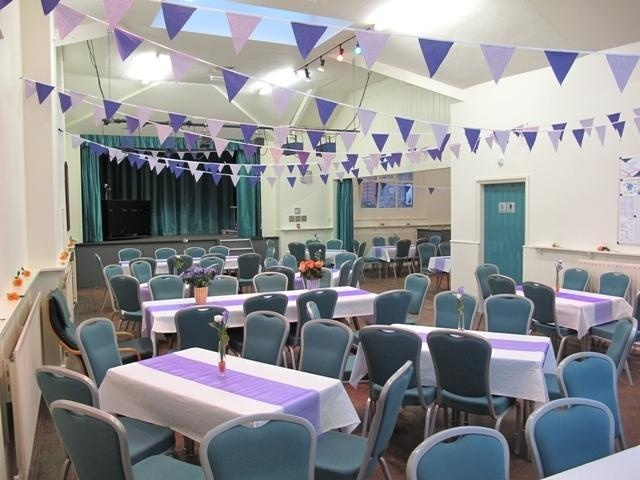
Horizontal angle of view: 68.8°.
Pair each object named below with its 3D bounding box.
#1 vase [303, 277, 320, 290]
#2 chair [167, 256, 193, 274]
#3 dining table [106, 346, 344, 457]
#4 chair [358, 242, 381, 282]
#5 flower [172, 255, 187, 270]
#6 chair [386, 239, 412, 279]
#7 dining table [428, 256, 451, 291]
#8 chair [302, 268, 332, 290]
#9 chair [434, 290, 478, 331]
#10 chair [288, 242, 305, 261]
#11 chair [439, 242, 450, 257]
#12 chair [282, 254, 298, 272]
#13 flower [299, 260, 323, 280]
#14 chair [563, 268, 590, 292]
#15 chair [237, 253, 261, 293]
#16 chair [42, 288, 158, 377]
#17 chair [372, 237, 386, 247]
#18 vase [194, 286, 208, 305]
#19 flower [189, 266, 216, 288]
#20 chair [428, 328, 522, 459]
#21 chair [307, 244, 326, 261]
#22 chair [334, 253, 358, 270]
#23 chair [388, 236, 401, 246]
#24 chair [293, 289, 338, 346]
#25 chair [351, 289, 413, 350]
[{"bbox_3d":[-0.127,0.539,5.865,0.158,0.136,0.158,-1,0,2],"label":"vase"},{"bbox_3d":[-2.224,0.395,7.388,0.238,0.364,0.247,-2,5,-31],"label":"chair"},{"bbox_3d":[-0.771,1.023,3.158,1.171,0.292,0.746,3,5,36],"label":"dining table"},{"bbox_3d":[1.210,0.498,11.965,0.632,0.918,0.632,-3,7,6],"label":"chair"},{"bbox_3d":[-2.080,0.388,6.888,0.243,0.113,0.272,-4,37,-16],"label":"flower"},{"bbox_3d":[2.129,0.448,11.732,0.423,0.949,0.538,5,5,18],"label":"chair"},{"bbox_3d":[2.714,0.708,10.655,0.462,0.703,2.198,1,2,15],"label":"dining table"},{"bbox_3d":[0.000,0.548,6.414,0.278,0.423,0.302,-3,8,-28],"label":"chair"},{"bbox_3d":[1.349,0.716,4.731,0.340,0.571,0.381,1,0,31],"label":"chair"},{"bbox_3d":[-0.554,0.275,10.646,0.298,0.580,0.395,4,11,19],"label":"chair"},{"bbox_3d":[2.909,0.224,10.888,0.229,0.311,0.457,2,2,22],"label":"chair"},{"bbox_3d":[-0.534,0.425,8.251,0.231,0.355,0.260,-1,3,-37],"label":"chair"},{"bbox_3d":[-0.133,0.362,5.797,0.225,0.185,0.233,-1,3,-26],"label":"flower"},{"bbox_3d":[3.437,0.513,6.283,0.262,0.445,0.319,0,5,41],"label":"chair"},{"bbox_3d":[-1.311,0.737,8.373,0.326,1.026,0.399,1,-3,-2],"label":"chair"},{"bbox_3d":[-2.444,1.217,5.219,1.022,1.430,0.777,-8,7,-40],"label":"chair"},{"bbox_3d":[1.636,0.053,12.790,0.229,0.421,0.270,0,2,-12],"label":"chair"},{"bbox_3d":[-1.304,0.604,5.095,0.128,0.208,0.219,0,2,-18],"label":"vase"},{"bbox_3d":[-1.283,0.387,5.032,0.207,0.167,0.228,0,4,0],"label":"flower"},{"bbox_3d":[1.175,1.139,3.713,0.654,1.319,0.818,2,-39,14],"label":"chair"},{"bbox_3d":[-0.105,0.262,10.301,0.314,0.440,0.371,4,6,34],"label":"chair"},{"bbox_3d":[0.486,0.407,9.056,0.292,0.485,0.328,0,-4,15],"label":"chair"},{"bbox_3d":[2.065,0.038,13.014,0.241,0.400,0.297,0,-5,0],"label":"chair"},{"bbox_3d":[-0.036,0.791,5.042,0.438,0.890,0.513,-1,3,-24],"label":"chair"},{"bbox_3d":[0.717,0.795,5.173,0.475,0.960,0.588,-3,8,-24],"label":"chair"}]
